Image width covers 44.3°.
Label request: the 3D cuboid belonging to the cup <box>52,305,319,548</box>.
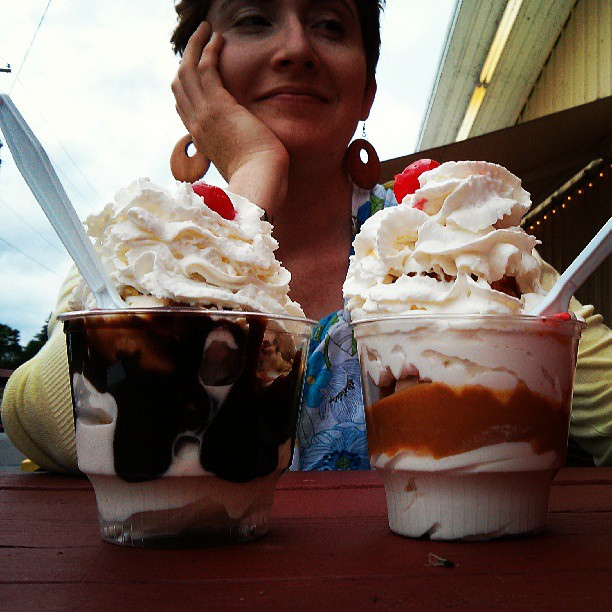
[{"bbox_3d":[-0.151,0.139,0.990,0.329,0.296,0.326,1,3,0],"label":"cup"}]

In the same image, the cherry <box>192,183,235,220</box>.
[{"bbox_3d":[-0.132,-0.144,1.082,0.059,0.056,0.064,-3,36,-6],"label":"cherry"}]

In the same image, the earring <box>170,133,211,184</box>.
[{"bbox_3d":[-0.305,-0.385,1.967,0.118,0.119,0.062,27,42,30],"label":"earring"}]

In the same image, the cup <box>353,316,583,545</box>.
[{"bbox_3d":[0.213,0.152,1.037,0.289,0.296,0.335,-2,-1,-4],"label":"cup"}]
